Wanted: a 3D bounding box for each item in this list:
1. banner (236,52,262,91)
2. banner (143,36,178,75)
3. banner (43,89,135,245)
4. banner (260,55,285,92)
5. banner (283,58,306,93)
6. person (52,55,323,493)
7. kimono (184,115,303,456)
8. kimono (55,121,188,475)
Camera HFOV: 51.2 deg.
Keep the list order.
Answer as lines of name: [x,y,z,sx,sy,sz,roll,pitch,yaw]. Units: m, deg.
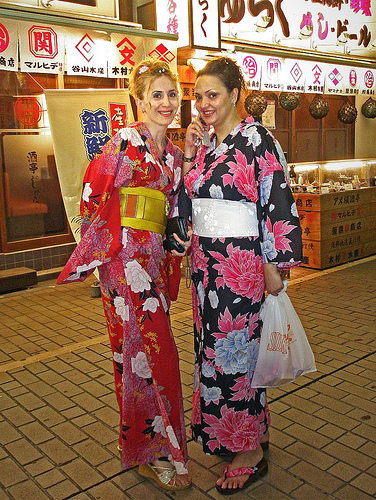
banner: [0.901,-2.560,5.651,0.432,0.527,0.146,-6,6,-40]
banner: [-0.316,-2.367,4.779,0.451,0.444,0.011,10,54,10]
banner: [-1.130,-0.780,4.272,1.068,1.770,0.466,-20,33,-38]
banner: [1.258,-2.650,5.852,0.555,0.499,0.030,-9,15,-43]
banner: [1.654,-2.726,6.142,0.597,0.534,0.020,-16,28,-33]
person: [0.018,0.085,1.858,1.072,1.871,0.618,-2,5,7]
kimono: [0.221,0.167,1.705,0.523,1.462,0.237,-2,5,11]
kimono: [-0.299,0.233,1.820,0.562,1.600,0.450,-2,5,6]
